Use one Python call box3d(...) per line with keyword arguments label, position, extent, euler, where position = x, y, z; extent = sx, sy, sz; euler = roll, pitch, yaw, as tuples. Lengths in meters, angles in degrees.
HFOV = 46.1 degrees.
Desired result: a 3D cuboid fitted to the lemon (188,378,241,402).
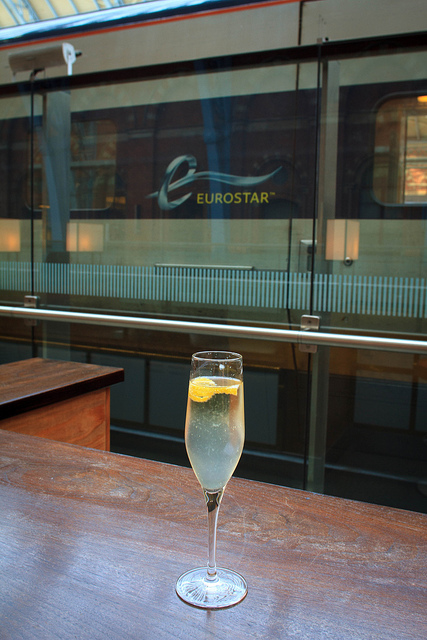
box3d(label="lemon", position=(0.005, 0.067, 0.510), extent=(0.039, 0.021, 0.024), euler=(6, -2, 2))
